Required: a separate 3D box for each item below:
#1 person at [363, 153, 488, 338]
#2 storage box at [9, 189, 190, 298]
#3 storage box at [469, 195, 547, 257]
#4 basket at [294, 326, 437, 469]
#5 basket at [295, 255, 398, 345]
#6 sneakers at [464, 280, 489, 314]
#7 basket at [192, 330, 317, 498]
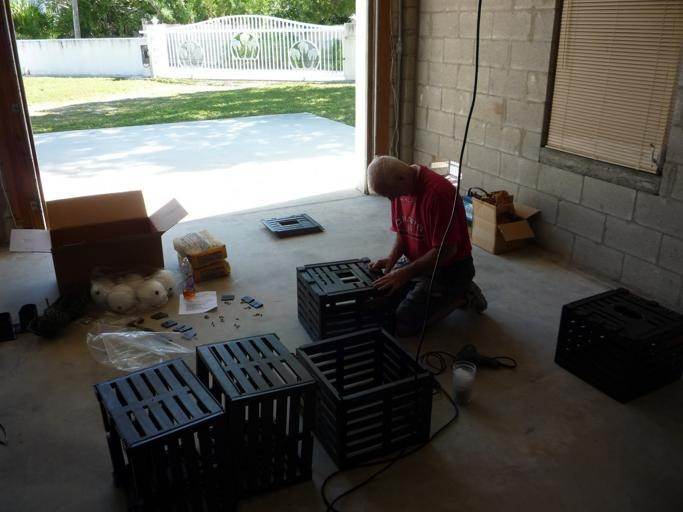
[{"bbox_3d":[0.676,-0.092,3.989,0.909,1.368,0.673,-2,25,3],"label":"person"},{"bbox_3d":[-2.256,-0.146,4.745,1.475,0.550,0.789,-14,31,-31],"label":"storage box"},{"bbox_3d":[1.670,-0.393,5.535,0.750,0.522,0.767,21,14,33],"label":"storage box"},{"bbox_3d":[0.169,0.855,3.167,0.766,0.576,0.776,-10,25,-26],"label":"basket"},{"bbox_3d":[0.007,0.311,3.895,0.613,0.471,0.625,-7,22,-19],"label":"basket"},{"bbox_3d":[1.144,0.350,4.328,0.164,0.283,0.277,-9,7,-3],"label":"sneakers"},{"bbox_3d":[-0.459,0.773,3.055,0.690,0.863,0.916,-9,25,-22],"label":"basket"}]
